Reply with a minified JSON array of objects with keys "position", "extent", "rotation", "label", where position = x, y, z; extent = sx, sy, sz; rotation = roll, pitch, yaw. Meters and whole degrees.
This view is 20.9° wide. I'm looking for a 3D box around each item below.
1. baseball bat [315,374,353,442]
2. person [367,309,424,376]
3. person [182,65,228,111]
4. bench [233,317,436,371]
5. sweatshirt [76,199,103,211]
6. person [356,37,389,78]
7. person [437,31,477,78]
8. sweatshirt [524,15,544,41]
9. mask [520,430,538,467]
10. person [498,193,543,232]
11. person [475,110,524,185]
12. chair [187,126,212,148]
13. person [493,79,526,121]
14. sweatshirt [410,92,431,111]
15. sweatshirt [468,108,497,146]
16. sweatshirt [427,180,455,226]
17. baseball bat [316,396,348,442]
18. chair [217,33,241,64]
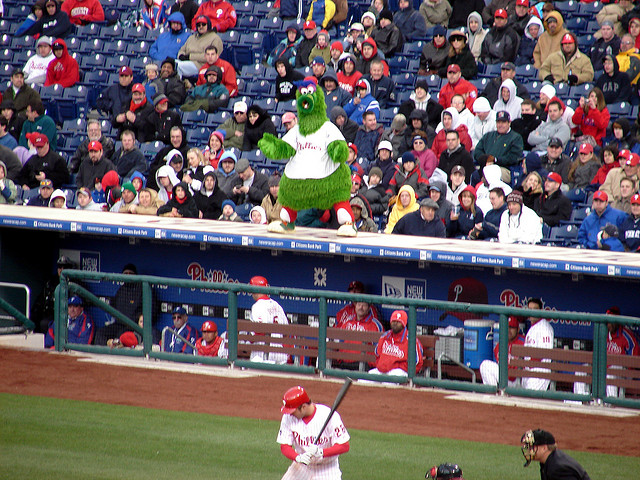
[{"position":[0.224,2.691,27.665],"extent":[0.106,1.230,0.076],"rotation":[21,-3,29],"label":"baseball bat"},{"position":[1.261,1.826,30.148],"extent":[0.817,1.344,0.759],"rotation":[6,2,15],"label":"person"},{"position":[-2.364,-3.088,36.610],"extent":[0.951,1.250,0.762],"rotation":[5,-2,26],"label":"person"},{"position":[0.072,1.847,30.517],"extent":[3.363,1.013,0.665],"rotation":[0,-8,20],"label":"bench"},{"position":[-4.587,-0.744,34.579],"extent":[0.473,0.279,0.434],"rotation":[7,-8,-43],"label":"sweatshirt"},{"position":[1.035,-3.743,35.424],"extent":[0.605,0.773,0.350],"rotation":[4,11,14],"label":"person"},{"position":[2.862,-3.799,35.258],"extent":[0.714,1.330,0.745],"rotation":[-1,1,22],"label":"person"},{"position":[4.301,-4.300,35.075],"extent":[0.264,0.524,0.393],"rotation":[-1,3,14],"label":"sweatshirt"},{"position":[3.093,3.029,25.663],"extent":[0.300,0.560,0.343],"rotation":[2,-3,7],"label":"mask"},{"position":[3.602,-0.478,31.691],"extent":[0.713,0.931,0.538],"rotation":[1,11,25],"label":"person"},{"position":[3.365,-1.758,33.011],"extent":[0.822,1.477,1.353],"rotation":[-1,-6,27],"label":"person"},{"position":[-2.493,-2.185,35.995],"extent":[0.339,0.595,0.446],"rotation":[1,-1,17],"label":"chair"},{"position":[3.688,-2.651,33.790],"extent":[0.582,0.851,0.419],"rotation":[-7,-21,25],"label":"person"},{"position":[1.995,-2.792,34.587],"extent":[0.414,0.539,0.920],"rotation":[1,-6,3],"label":"sweatshirt"},{"position":[3.140,-2.184,33.571],"extent":[0.481,0.618,0.283],"rotation":[18,13,39],"label":"sweatshirt"},{"position":[2.214,-0.640,32.282],"extent":[0.488,1.018,0.491],"rotation":[2,0,22],"label":"sweatshirt"},{"position":[0.175,2.751,26.717],"extent":[0.040,0.814,0.120],"rotation":[30,-3,-36],"label":"baseball bat"},{"position":[-2.079,-4.179,37.737],"extent":[0.488,0.854,0.610],"rotation":[1,5,8],"label":"chair"}]
